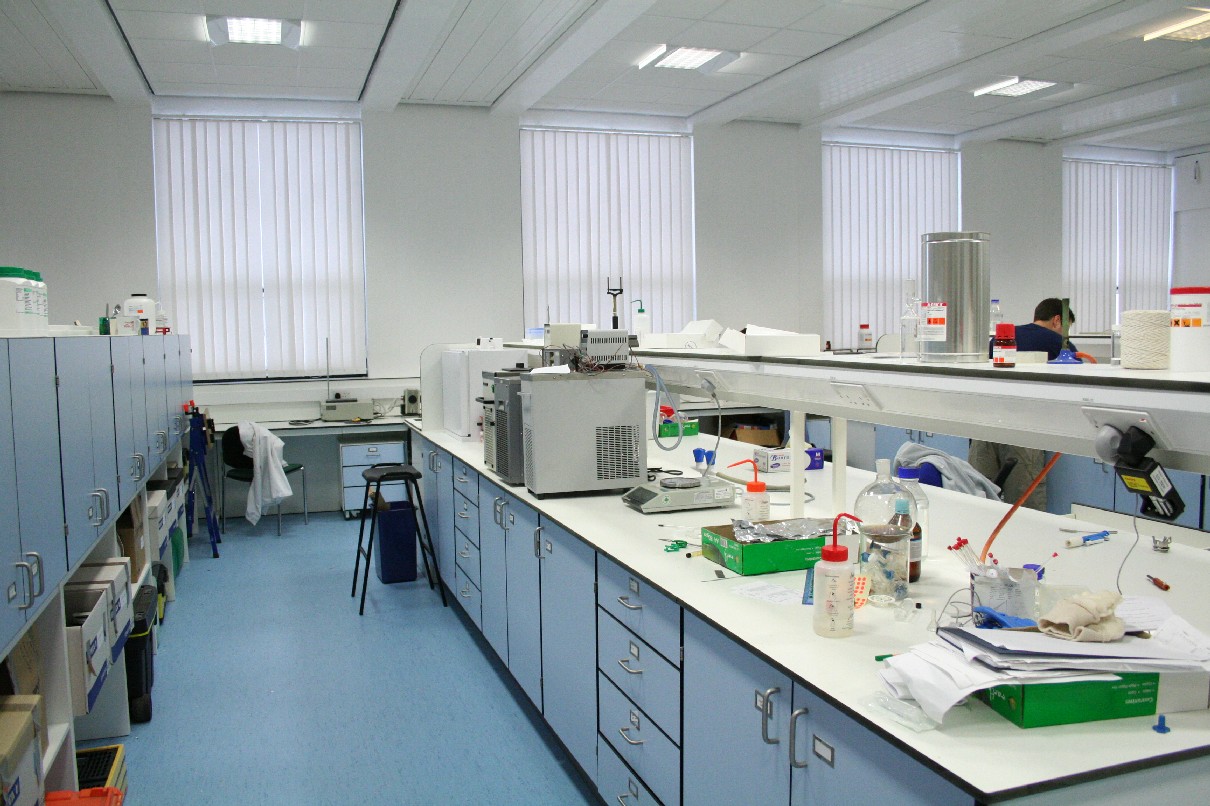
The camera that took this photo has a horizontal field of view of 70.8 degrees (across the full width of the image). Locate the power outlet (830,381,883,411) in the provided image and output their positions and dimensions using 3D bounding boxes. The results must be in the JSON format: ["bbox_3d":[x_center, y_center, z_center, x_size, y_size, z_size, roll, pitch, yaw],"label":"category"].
[{"bbox_3d":[0.827,-0.029,2.809,0.044,0.090,0.221,-6,12,-25],"label":"power outlet"}]

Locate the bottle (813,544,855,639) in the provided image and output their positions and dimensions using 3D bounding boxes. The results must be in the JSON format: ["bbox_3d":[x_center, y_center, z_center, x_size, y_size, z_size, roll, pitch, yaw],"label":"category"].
[{"bbox_3d":[0.695,0.564,2.580,0.124,0.261,0.096,2,11,15],"label":"bottle"}]

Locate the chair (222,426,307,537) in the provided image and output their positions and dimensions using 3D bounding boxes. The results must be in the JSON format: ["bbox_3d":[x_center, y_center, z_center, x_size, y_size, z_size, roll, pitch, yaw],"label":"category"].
[{"bbox_3d":[-2.795,0.580,6.956,0.716,0.992,1.150,-6,12,-25],"label":"chair"}]

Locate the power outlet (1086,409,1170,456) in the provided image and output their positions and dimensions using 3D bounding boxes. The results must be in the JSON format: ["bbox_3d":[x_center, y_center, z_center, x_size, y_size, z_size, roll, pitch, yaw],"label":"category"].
[{"bbox_3d":[1.346,0.045,2.209,0.106,0.125,0.187,-8,10,-25],"label":"power outlet"}]

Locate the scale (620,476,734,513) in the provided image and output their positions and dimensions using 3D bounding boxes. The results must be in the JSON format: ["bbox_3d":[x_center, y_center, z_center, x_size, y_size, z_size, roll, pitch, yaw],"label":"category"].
[{"bbox_3d":[0.320,0.404,3.758,0.283,0.094,0.217,0,1,-19],"label":"scale"}]
